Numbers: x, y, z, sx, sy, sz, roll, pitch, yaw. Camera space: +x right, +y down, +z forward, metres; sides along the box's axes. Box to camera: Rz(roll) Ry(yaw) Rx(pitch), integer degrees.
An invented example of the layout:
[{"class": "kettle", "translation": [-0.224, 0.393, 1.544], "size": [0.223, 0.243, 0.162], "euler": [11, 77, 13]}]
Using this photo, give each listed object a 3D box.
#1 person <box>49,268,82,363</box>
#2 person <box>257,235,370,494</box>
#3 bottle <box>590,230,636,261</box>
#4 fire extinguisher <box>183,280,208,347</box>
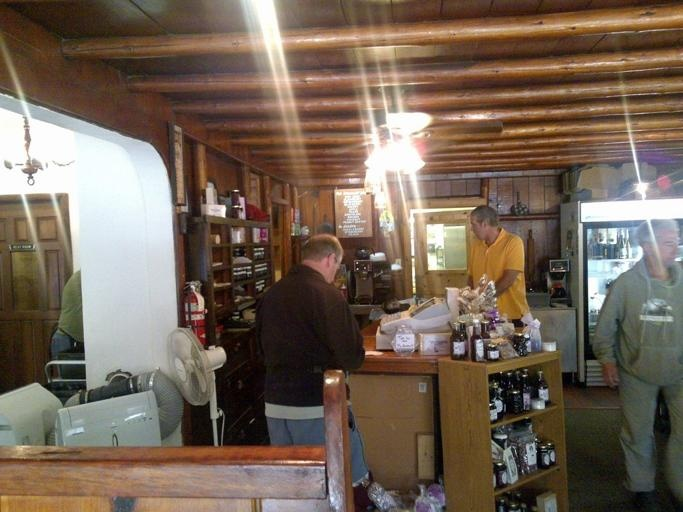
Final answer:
[{"class": "person", "translation": [-2.901, 0.672, 5.889], "size": [0.303, 0.981, 1.915], "euler": [-3, 0, -28]}, {"class": "person", "translation": [-0.203, 0.574, 3.839], "size": [0.772, 1.534, 0.478], "euler": [-2, 1, 37]}, {"class": "bottle", "translation": [3.463, -0.109, 7.069], "size": [0.395, 0.357, 0.180], "euler": [0, -8, 5]}, {"class": "fire extinguisher", "translation": [-1.251, 0.497, 4.804], "size": [0.193, 0.564, 0.281], "euler": [-3, 0, -13]}]
